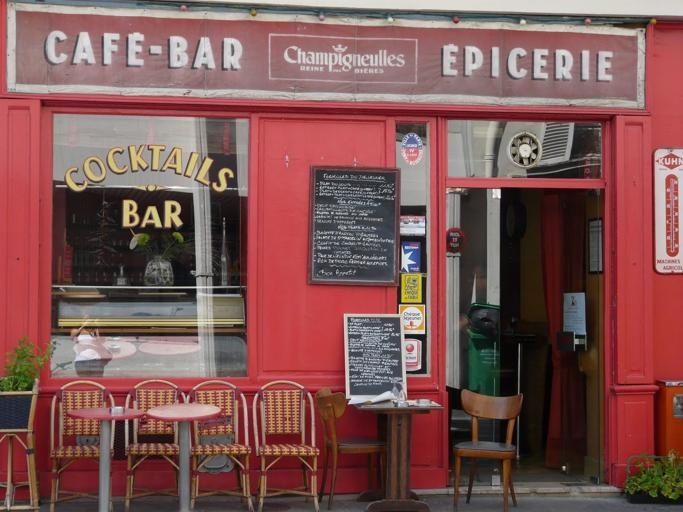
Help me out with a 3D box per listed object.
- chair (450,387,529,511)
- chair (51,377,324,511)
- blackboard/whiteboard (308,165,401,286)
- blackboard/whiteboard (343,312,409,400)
[{"bbox_3d":[1.424,1.863,12.892,0.678,1.131,1.453,-1,-2,6],"label":"chair"},{"bbox_3d":[-1.052,1.790,12.411,1.678,1.217,0.838,-1,-3,-2],"label":"chair"},{"bbox_3d":[0.083,-0.273,12.799,1.194,1.478,0.060,1,-6,-7],"label":"blackboard/whiteboard"},{"bbox_3d":[0.308,0.978,12.674,0.867,1.134,0.055,0,-12,-11],"label":"blackboard/whiteboard"}]
